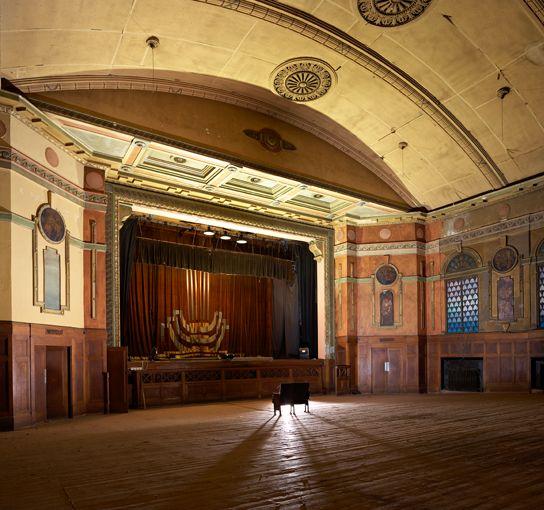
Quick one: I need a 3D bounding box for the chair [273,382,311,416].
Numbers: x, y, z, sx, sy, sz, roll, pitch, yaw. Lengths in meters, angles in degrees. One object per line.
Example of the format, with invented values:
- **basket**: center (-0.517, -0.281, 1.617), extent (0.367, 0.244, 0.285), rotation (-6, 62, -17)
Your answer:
- **chair**: center (0.380, 2.662, 8.895), extent (0.852, 0.722, 0.363), rotation (4, -6, -23)
